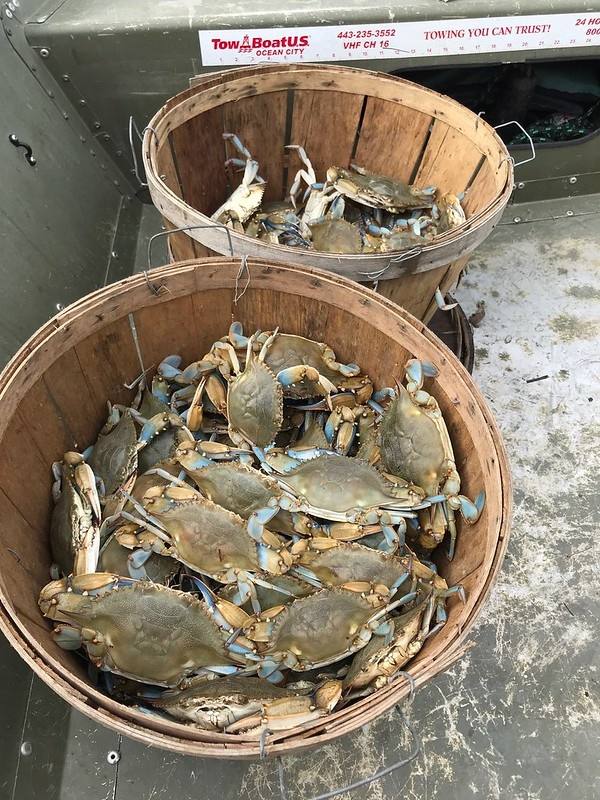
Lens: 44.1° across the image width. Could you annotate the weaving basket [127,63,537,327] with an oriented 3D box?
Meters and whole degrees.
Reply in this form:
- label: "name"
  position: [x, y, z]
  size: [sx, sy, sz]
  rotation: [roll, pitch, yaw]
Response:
- label: "weaving basket"
  position: [-0.008, -0.763, 3.305]
  size: [1.460, 0.875, 1.233]
  rotation: [-8, 56, -24]
